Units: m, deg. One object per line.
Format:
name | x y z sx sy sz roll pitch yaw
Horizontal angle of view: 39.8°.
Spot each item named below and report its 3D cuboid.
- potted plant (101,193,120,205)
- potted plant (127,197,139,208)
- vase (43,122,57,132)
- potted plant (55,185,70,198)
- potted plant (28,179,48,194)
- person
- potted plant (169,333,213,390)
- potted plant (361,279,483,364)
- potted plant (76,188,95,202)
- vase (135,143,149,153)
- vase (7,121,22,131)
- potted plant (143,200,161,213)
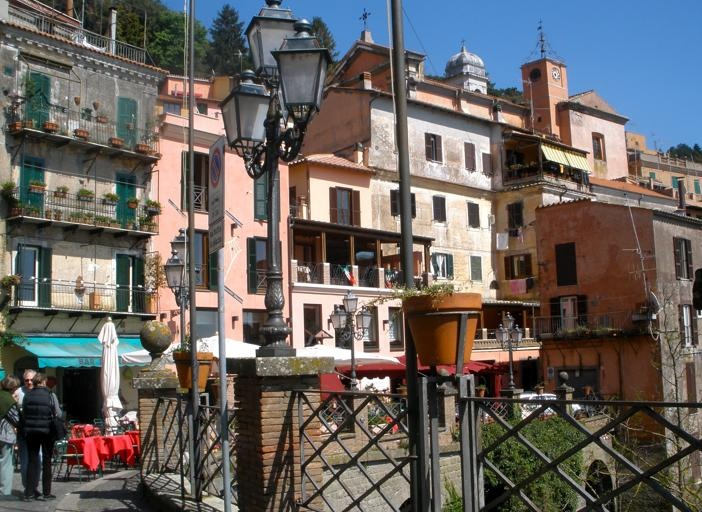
potted plant | -9.978 -2.377 40.145 0.400 0.486 0.687 -6 -8 37
potted plant | -9.198 -2.265 40.802 0.593 0.381 0.447 8 -14 -32
vase | -11.950 -5.135 38.457 0.422 0.271 0.418 4 -7 -42
potted plant | -11.546 -2.546 38.628 0.520 0.494 0.383 4 -7 -38
potted plant | -12.353 -2.737 38.062 0.426 0.501 0.666 -5 -7 40
person | -7.938 4.459 24.150 1.405 3.086 0.855 3 -11 -11
potted plant | -3.867 2.585 23.505 1.173 1.278 1.078 2 -10 -12
potted plant | 1.756 1.288 18.642 1.220 1.245 1.657 2 -13 -16
potted plant | -10.819 -2.513 39.484 0.812 0.476 0.496 8 -13 -31
vase | -8.862 -4.583 41.029 0.312 0.200 0.491 -1 12 -37
vase | -13.163 -4.966 37.876 0.499 0.384 0.297 -10 -16 30
potted plant | -8.439 -2.100 41.138 0.514 0.277 0.522 4 -9 -23
